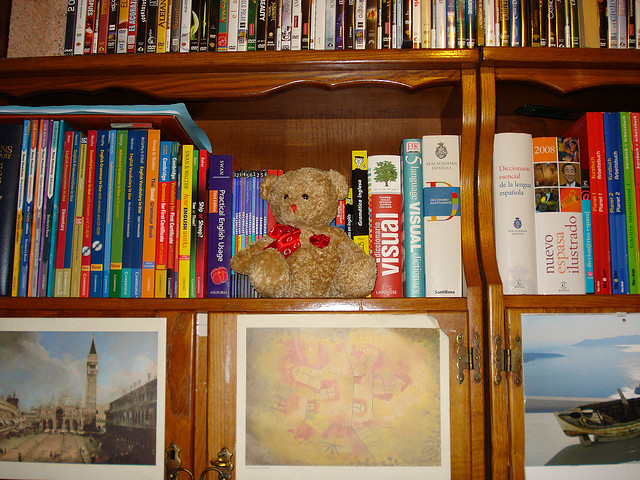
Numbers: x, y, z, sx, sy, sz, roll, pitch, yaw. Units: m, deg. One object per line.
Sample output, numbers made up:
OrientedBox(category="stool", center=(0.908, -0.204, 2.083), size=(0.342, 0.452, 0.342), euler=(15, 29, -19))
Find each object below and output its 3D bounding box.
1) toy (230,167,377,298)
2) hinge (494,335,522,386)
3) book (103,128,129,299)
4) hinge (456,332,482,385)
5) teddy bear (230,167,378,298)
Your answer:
OrientedBox(category="toy", center=(-0.044, -0.014, 1.534), size=(0.344, 0.350, 0.214), euler=(-1, -8, 4))
OrientedBox(category="hinge", center=(0.433, 0.277, 1.429), size=(0.063, 0.119, 0.013), euler=(0, 6, 9))
OrientedBox(category="book", center=(-0.498, -0.066, 1.516), size=(0.055, 0.404, 0.014), euler=(-1, -4, 5))
OrientedBox(category="hinge", center=(0.345, 0.272, 1.436), size=(0.057, 0.118, 0.016), euler=(-2, 6, 7))
OrientedBox(category="teddy bear", center=(-0.044, -0.008, 1.534), size=(0.338, 0.350, 0.205), euler=(0, -6, -1))
